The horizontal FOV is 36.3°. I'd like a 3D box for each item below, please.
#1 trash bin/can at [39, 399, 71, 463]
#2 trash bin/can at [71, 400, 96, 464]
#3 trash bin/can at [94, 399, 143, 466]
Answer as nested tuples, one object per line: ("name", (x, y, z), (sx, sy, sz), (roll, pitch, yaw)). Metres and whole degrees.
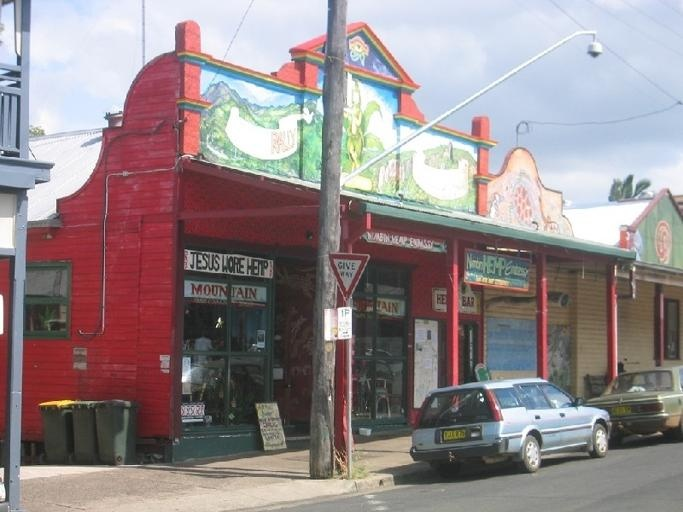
("trash bin/can", (-5.656, 3.518, 20.836), (0.830, 1.254, 0.352), (-8, -13, 25))
("trash bin/can", (-5.042, 3.503, 20.582), (0.651, 1.185, 0.299), (-7, -12, 22))
("trash bin/can", (-4.416, 3.489, 20.505), (0.800, 1.209, 0.584), (0, -12, -13))
